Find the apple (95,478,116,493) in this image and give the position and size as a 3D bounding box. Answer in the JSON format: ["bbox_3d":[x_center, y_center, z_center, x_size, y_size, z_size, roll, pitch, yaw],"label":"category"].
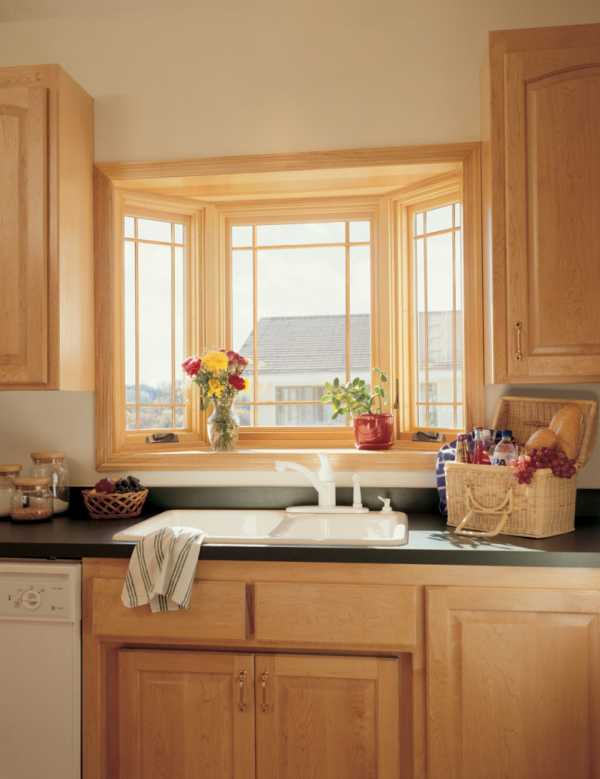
[{"bbox_3d":[-0.649,0.322,2.535,0.045,0.023,0.054,-2,9,1],"label":"apple"}]

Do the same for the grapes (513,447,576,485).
[{"bbox_3d":[0.691,0.217,2.169,0.200,0.095,0.097,-3,3,-24],"label":"grapes"}]

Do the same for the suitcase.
[{"bbox_3d":[0.668,0.223,2.311,0.420,0.383,0.494,0,3,23],"label":"suitcase"}]

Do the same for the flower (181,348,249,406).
[{"bbox_3d":[-0.303,-0.068,2.795,0.220,0.195,0.222,28,35,31],"label":"flower"}]

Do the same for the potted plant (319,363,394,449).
[{"bbox_3d":[0.205,0.079,2.825,0.286,0.277,0.226,-1,3,16],"label":"potted plant"}]

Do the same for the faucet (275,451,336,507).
[{"bbox_3d":[0.039,0.302,2.518,0.156,0.176,0.215,0,3,26],"label":"faucet"}]

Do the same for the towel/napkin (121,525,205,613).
[{"bbox_3d":[-0.357,0.490,2.054,0.193,0.215,0.154,-1,3,18],"label":"towel/napkin"}]
